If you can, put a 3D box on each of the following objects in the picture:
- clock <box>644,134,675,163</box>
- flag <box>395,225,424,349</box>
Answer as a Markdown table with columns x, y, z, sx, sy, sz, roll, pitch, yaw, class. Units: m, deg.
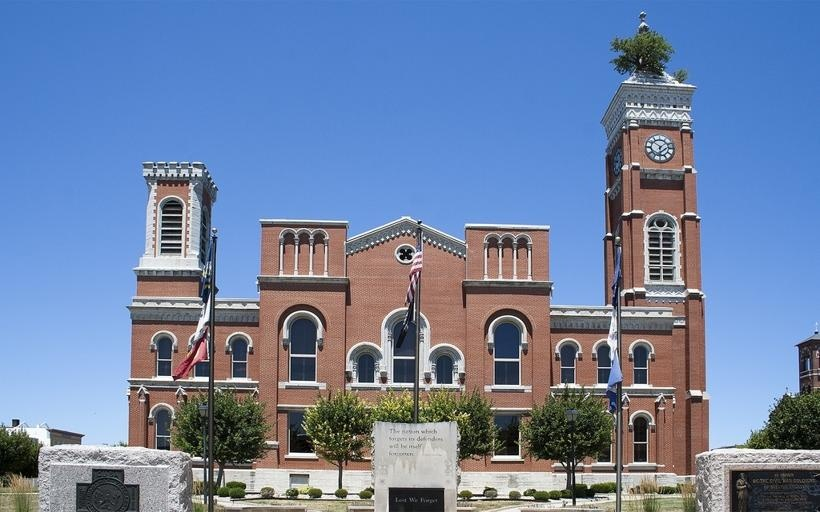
| x | y | z | sx | sy | sz | roll | pitch | yaw | class |
| --- | --- | --- | --- | --- | --- | --- | --- | --- | --- |
| 22.626 | -9.895 | 174.773 | 1.979 | 1.965 | 0.118 | 36 | 0 | 5 | clock |
| 0.066 | 2.096 | 143.825 | 1.349 | 9.960 | 1.247 | 1 | 4 | -13 | flag |
